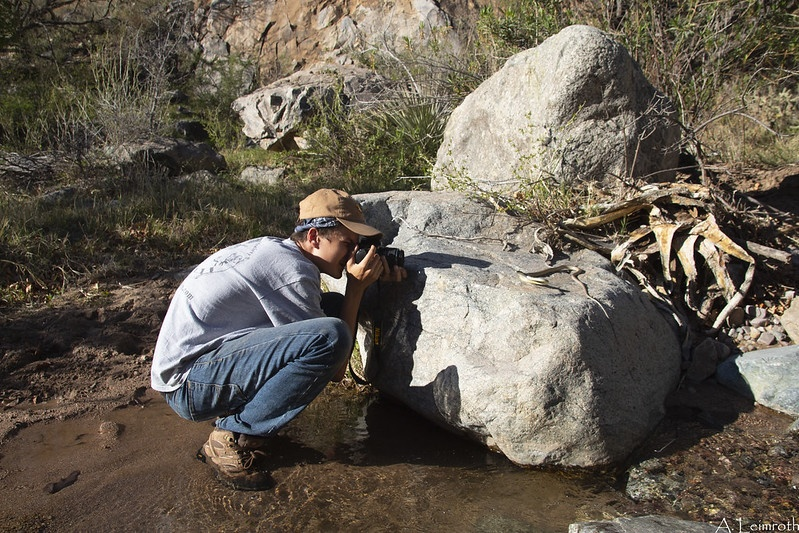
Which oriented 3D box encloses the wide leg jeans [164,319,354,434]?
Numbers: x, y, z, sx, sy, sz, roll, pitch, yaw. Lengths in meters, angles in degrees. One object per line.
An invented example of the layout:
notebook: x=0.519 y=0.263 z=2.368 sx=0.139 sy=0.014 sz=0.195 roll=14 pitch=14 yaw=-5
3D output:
wide leg jeans: x=-1.071 y=0.931 z=5.594 sx=1.453 sy=0.755 sz=0.337 roll=-13 pitch=27 yaw=3

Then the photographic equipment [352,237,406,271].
photographic equipment: x=-0.184 y=-0.066 z=5.986 sx=0.283 sy=0.137 sz=0.283 roll=29 pitch=-3 yaw=6

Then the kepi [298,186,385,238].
kepi: x=-0.493 y=-0.446 z=5.974 sx=0.701 sy=0.384 sz=0.477 roll=0 pitch=0 yaw=5

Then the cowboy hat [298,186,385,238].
cowboy hat: x=-0.497 y=-0.447 z=5.973 sx=0.705 sy=0.395 sz=0.508 roll=-1 pitch=0 yaw=17

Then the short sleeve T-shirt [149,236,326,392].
short sleeve T-shirt: x=-1.368 y=0.355 z=5.916 sx=1.292 sy=1.073 sz=0.990 roll=-7 pitch=14 yaw=-16

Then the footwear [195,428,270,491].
footwear: x=-1.310 y=1.552 z=5.595 sx=1.028 sy=0.340 sz=0.375 roll=1 pitch=6 yaw=16
